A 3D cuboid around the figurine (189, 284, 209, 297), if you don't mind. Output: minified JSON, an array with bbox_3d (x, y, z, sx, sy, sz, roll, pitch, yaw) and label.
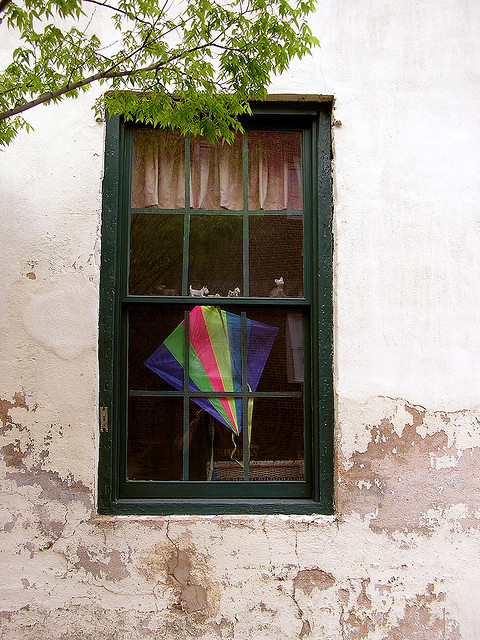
[{"bbox_3d":[-0.211,-0.142,4.874,0.113,0.081,0.044,1,-7,-5],"label":"figurine"}]

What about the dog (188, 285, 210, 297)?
[{"bbox_3d":[-0.209,-0.142,4.873,0.112,0.081,0.044,0,-4,-6],"label":"dog"}]

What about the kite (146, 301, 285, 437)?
[{"bbox_3d":[-0.118,0.132,4.866,0.661,0.040,0.895,-3,-54,3],"label":"kite"}]
